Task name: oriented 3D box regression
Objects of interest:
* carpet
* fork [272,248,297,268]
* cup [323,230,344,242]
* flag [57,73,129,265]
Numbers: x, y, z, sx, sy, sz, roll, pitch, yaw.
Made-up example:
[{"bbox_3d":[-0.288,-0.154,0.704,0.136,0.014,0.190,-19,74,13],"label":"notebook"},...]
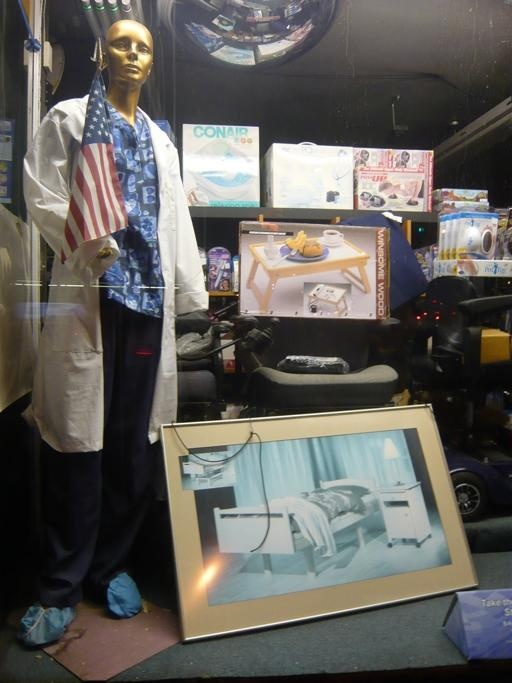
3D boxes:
[{"bbox_3d":[-0.307,0.641,1.221,0.281,0.027,0.216,-3,20,-8],"label":"carpet"},{"bbox_3d":[0.079,-0.229,1.546,0.064,0.040,0.011,-49,17,-17],"label":"fork"},{"bbox_3d":[0.217,-0.292,1.575,0.039,0.023,0.033,4,-1,-7],"label":"cup"},{"bbox_3d":[-0.339,-0.386,1.221,0.128,0.383,0.256,1,19,4],"label":"flag"}]
